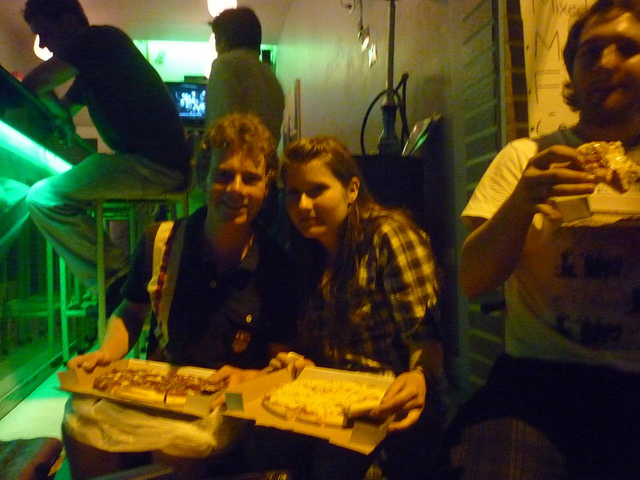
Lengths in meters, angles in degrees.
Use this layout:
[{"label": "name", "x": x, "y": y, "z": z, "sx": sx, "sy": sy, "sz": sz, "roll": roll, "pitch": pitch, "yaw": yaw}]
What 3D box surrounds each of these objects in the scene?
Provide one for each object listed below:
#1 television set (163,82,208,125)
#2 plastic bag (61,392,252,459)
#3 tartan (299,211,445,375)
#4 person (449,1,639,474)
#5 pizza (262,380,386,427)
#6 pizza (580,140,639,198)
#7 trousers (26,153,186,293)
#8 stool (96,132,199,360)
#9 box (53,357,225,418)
[{"label": "television set", "x": -0.382, "y": -0.408, "z": 1.576, "sx": 0.112, "sy": 0.109, "sz": 0.011, "roll": -6, "pitch": 9, "yaw": -31}, {"label": "plastic bag", "x": -0.451, "y": 0.450, "z": 1.399, "sx": 0.291, "sy": 0.076, "sz": 0.213, "roll": 13, "pitch": 6, "yaw": 6}, {"label": "tartan", "x": 0.097, "y": 0.151, "z": 1.722, "sx": 0.619, "sy": 0.570, "sz": 0.303, "roll": 6, "pitch": 20, "yaw": 25}, {"label": "person", "x": 0.597, "y": 0.037, "z": 1.440, "sx": 0.622, "sy": 1.220, "sz": 0.285, "roll": -9, "pitch": 16, "yaw": 10}, {"label": "pizza", "x": 0.015, "y": 0.423, "z": 1.426, "sx": 0.210, "sy": 0.091, "sz": 0.260, "roll": -3, "pitch": 6, "yaw": -37}, {"label": "pizza", "x": 0.705, "y": -0.169, "z": 1.343, "sx": 0.132, "sy": 0.129, "sz": 0.040, "roll": -27, "pitch": -5, "yaw": -18}, {"label": "trousers", "x": -0.723, "y": -0.039, "z": 1.956, "sx": 0.458, "sy": 0.500, "sz": 0.554, "roll": -1, "pitch": 6, "yaw": -21}, {"label": "stool", "x": -0.583, "y": 0.036, "z": 1.861, "sx": 0.353, "sy": 0.848, "sz": 0.602, "roll": -1, "pitch": 2, "yaw": -2}, {"label": "box", "x": -0.474, "y": 0.380, "z": 1.473, "sx": 0.325, "sy": 0.118, "sz": 0.354, "roll": 4, "pitch": 3, "yaw": 43}]
